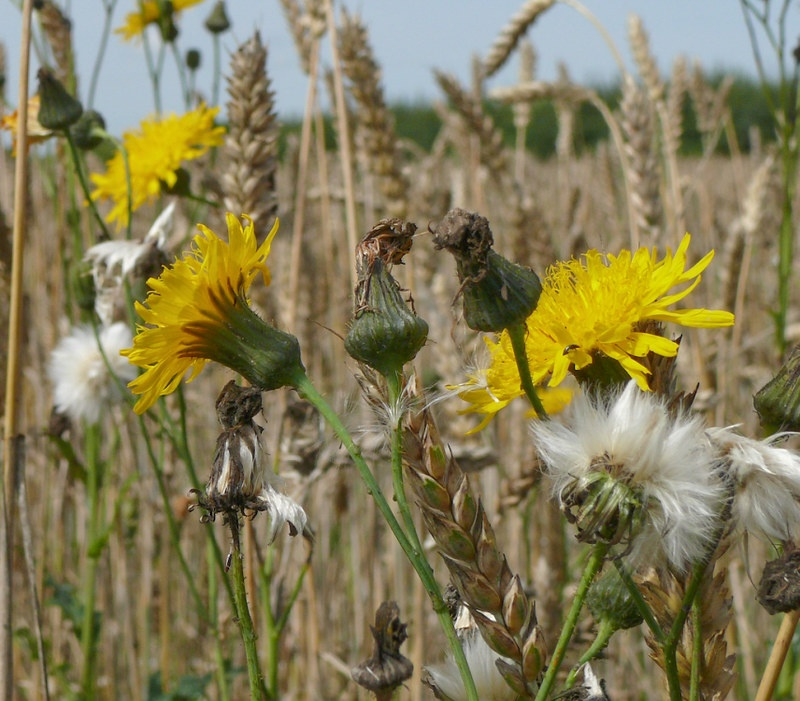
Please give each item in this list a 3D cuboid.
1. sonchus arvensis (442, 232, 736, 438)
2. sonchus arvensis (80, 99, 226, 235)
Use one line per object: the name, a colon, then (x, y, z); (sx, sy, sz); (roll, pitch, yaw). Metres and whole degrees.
sonchus arvensis: (0.634, 0.031, 6.321); (0.814, 0.741, 1.026); (5, 2, 23)
sonchus arvensis: (-0.744, -0.678, 7.082); (0.354, 0.153, 0.379); (-32, -6, -38)
